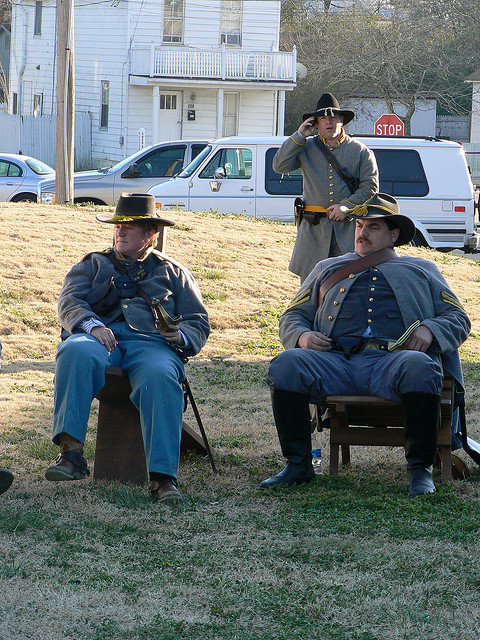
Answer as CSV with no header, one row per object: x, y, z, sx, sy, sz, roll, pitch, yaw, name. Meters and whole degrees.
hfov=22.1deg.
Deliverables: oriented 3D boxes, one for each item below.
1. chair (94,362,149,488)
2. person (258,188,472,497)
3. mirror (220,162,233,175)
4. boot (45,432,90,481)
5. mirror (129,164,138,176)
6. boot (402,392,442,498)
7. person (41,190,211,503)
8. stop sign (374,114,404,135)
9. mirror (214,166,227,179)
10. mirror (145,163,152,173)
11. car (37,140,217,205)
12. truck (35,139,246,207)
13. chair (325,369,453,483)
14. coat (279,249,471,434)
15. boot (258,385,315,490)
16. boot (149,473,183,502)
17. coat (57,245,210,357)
-0.608,0.526,6.130,0.306,0.635,0.291,3,10,14,chair
0.658,0.114,6.214,1.000,1.438,0.883,2,10,11,person
-0.170,-1.958,15.964,0.166,0.173,0.068,-3,16,-6,mirror
-0.821,0.645,5.794,0.131,0.208,0.309,-9,-9,18,boot
-1.538,-2.144,17.745,0.123,0.154,0.245,-1,9,-7,mirror
0.883,0.584,5.916,0.185,0.507,0.284,2,10,8,boot
-0.535,0.110,6.153,0.773,1.400,1.053,0,10,-3,person
2.646,-3.383,21.430,0.472,0.328,1.468,1,9,6,stop sign
-0.238,-1.884,15.899,0.165,0.170,0.469,0,9,-1,mirror
-1.334,-2.223,18.112,0.042,0.106,0.079,-16,10,-35,mirror
-1.663,-2.131,18.311,3.060,1.303,1.577,0,4,-19,car
-1.296,-2.012,18.471,3.315,1.404,1.382,-1,11,-14,truck
0.774,0.516,6.221,0.504,0.637,0.660,-2,-23,19,chair
0.674,0.133,6.230,1.107,1.112,0.614,0,-16,16,coat
0.244,0.580,6.150,0.285,0.535,0.174,0,10,0,boot
-0.354,0.788,5.905,0.155,0.136,0.168,-1,9,-7,boot
-0.566,-0.128,6.462,0.798,0.583,0.392,7,-10,-8,coat
